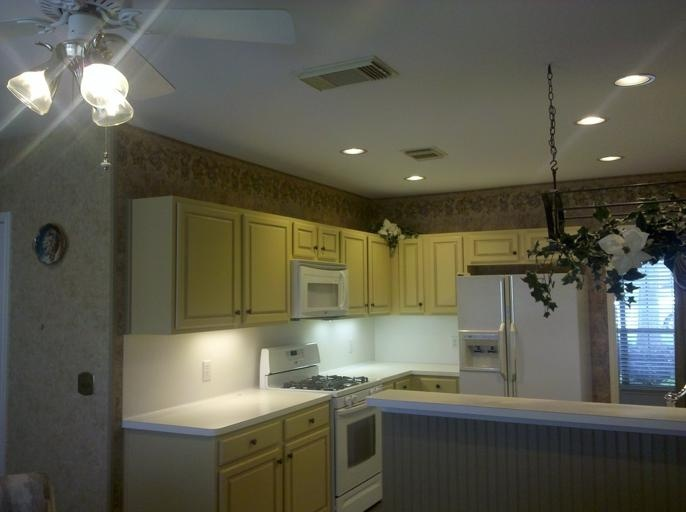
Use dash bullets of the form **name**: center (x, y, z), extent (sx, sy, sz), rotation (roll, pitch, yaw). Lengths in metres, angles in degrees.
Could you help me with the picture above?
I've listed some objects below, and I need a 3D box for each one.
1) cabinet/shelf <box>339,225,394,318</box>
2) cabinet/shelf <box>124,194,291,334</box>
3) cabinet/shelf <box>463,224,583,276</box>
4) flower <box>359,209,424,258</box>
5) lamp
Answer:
- **cabinet/shelf**: center (0.222, 0.163, 5.313), extent (0.318, 0.725, 0.836), rotation (-7, -12, 27)
- **cabinet/shelf**: center (-0.919, 0.065, 3.603), extent (0.320, 0.616, 1.007), rotation (-3, -6, 25)
- **cabinet/shelf**: center (1.539, -0.061, 5.229), extent (0.796, 0.403, 0.202), rotation (-5, -7, 22)
- **flower**: center (0.532, -0.242, 5.891), extent (0.453, 0.379, 0.462), rotation (8, -3, -6)
- **lamp**: center (-0.910, -0.580, 1.953), extent (0.427, 0.387, 0.412), rotation (3, -11, -14)
